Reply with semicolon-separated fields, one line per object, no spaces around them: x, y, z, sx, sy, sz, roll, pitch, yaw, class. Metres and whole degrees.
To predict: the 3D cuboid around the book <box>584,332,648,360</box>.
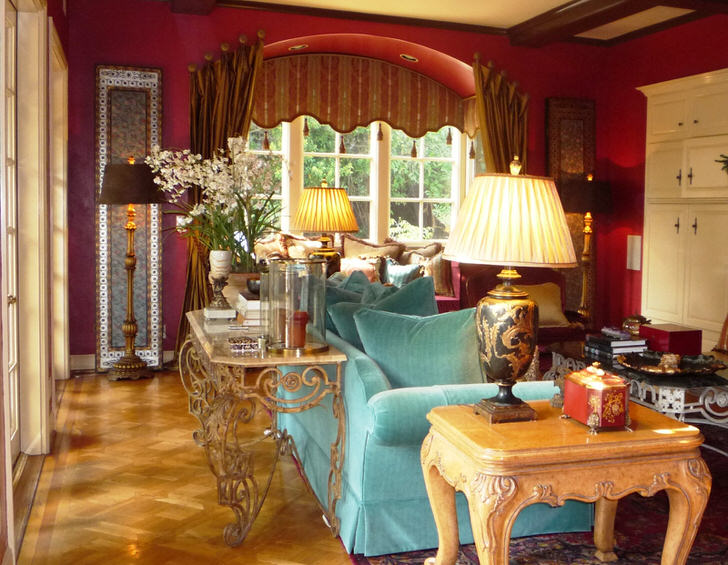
1.625;0.416;3.975;0.227;0.111;0.228;-2;4;-17;book

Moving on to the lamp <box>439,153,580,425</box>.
0.507;0.020;2.129;0.455;0.941;0.297;2;6;19;lamp

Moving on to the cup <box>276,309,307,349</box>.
-0.326;0.213;2.756;0.152;0.178;0.152;1;-3;0;cup

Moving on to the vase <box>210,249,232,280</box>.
-0.852;-0.109;3.551;0.127;0.174;0.142;-1;6;-15;vase

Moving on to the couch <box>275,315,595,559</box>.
0.280;0.600;2.921;0.912;0.890;1.760;-3;4;-16;couch

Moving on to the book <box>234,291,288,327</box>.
-0.564;0.099;3.232;0.269;0.135;0.165;0;14;-22;book

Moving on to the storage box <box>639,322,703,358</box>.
2.012;0.357;3.934;0.336;0.191;0.222;3;6;6;storage box

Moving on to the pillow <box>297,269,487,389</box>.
0.123;0.236;2.958;0.614;0.649;0.193;-6;-5;1;pillow
